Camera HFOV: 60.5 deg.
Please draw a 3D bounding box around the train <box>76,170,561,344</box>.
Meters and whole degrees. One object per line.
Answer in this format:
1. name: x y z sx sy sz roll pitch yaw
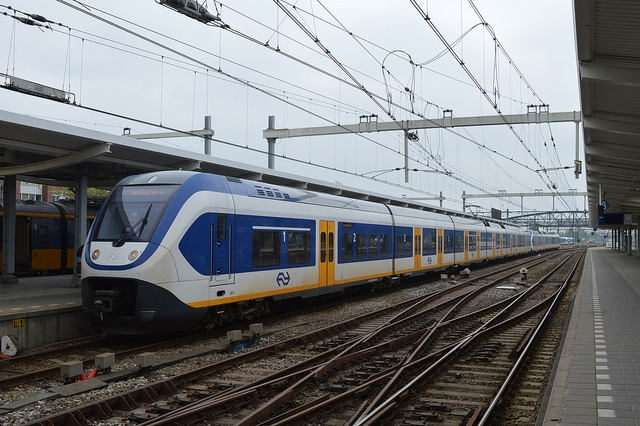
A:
1. train: 0.246 1.103 21.749 2.862 4.427 19.732 -4 -2 35
